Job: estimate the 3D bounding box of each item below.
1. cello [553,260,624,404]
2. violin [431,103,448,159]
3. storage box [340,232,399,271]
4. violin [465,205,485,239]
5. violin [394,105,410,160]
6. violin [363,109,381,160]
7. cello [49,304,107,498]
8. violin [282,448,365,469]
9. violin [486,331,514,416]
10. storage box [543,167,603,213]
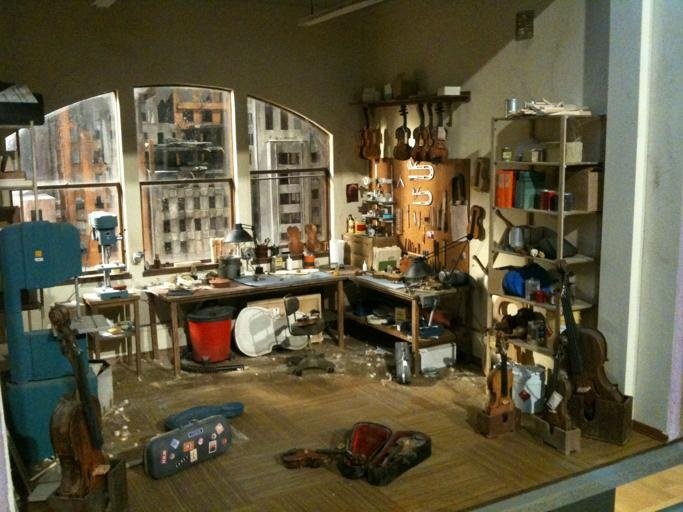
[{"bbox_3d":[2.572,0.804,5.961,0.709,1.300,0.333,3,14,19],"label":"cello"},{"bbox_3d":[1.383,-1.737,8.148,0.231,0.829,0.403,1,13,10],"label":"violin"},{"bbox_3d":[0.446,-0.054,9.373,0.491,0.615,0.885,-3,6,-27],"label":"storage box"},{"bbox_3d":[1.808,-0.454,7.737,0.088,0.597,0.392,-5,10,-27],"label":"violin"},{"bbox_3d":[0.924,-1.839,8.678,0.268,0.841,0.472,0,13,6],"label":"violin"},{"bbox_3d":[0.501,-1.966,9.354,0.377,0.851,0.327,4,14,22],"label":"violin"},{"bbox_3d":[-2.218,1.258,4.855,0.404,1.388,0.546,-5,14,-15],"label":"cello"},{"bbox_3d":[-0.206,1.953,5.625,0.639,0.149,0.286,1,-2,0],"label":"violin"},{"bbox_3d":[1.683,1.220,6.072,0.250,0.873,0.415,8,16,33],"label":"violin"},{"bbox_3d":[2.697,-0.789,6.392,0.343,0.484,0.318,14,11,-15],"label":"storage box"}]
